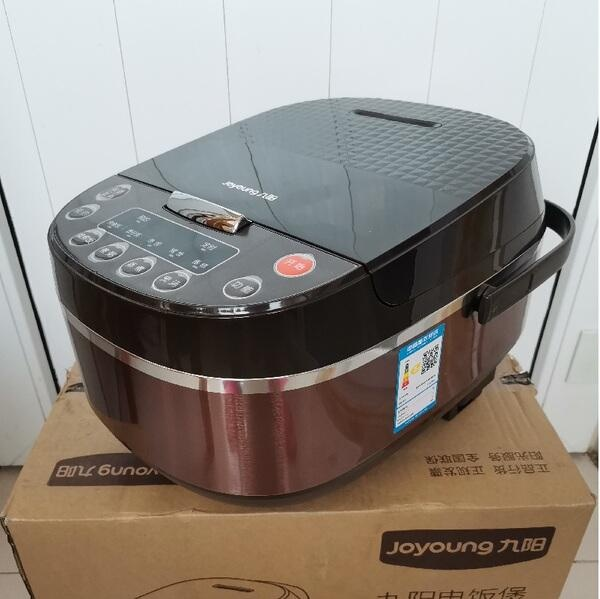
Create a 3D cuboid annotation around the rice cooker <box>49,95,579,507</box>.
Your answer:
[{"bbox_3d":[0.028,-0.035,0.596,0.483,0.225,0.379,-26,38,-32],"label":"rice cooker"}]
